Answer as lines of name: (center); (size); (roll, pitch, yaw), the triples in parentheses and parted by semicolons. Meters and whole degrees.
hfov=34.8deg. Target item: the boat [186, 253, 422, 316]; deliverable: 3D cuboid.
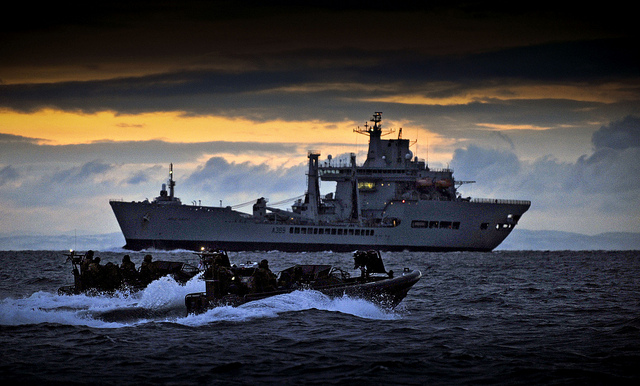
boat: (-0.885, 5.375, 60.066); (15.802, 3.938, 4.201); (-1, -5, -8)

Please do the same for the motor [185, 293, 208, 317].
motor: (-6.901, 6.242, 57.911); (1.746, 1.326, 1.145); (0, 1, 3)

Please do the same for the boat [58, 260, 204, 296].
boat: (-10.984, 4.824, 60.631); (9.169, 1.792, 2.533); (-3, 16, -3)

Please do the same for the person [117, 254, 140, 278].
person: (-11.179, 4.242, 59.551); (1.198, 1.324, 0.685); (3, 0, -9)

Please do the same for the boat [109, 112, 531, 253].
boat: (2.023, -1.074, 109.026); (46.029, 15.369, 12.109); (3, 0, -22)

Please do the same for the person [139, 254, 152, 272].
person: (-10.211, 4.052, 59.786); (0.666, 0.980, 1.626); (4, 0, -11)

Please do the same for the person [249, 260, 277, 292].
person: (-3.214, 4.652, 58.011); (1.601, 1.767, 0.808); (3, 0, -14)
